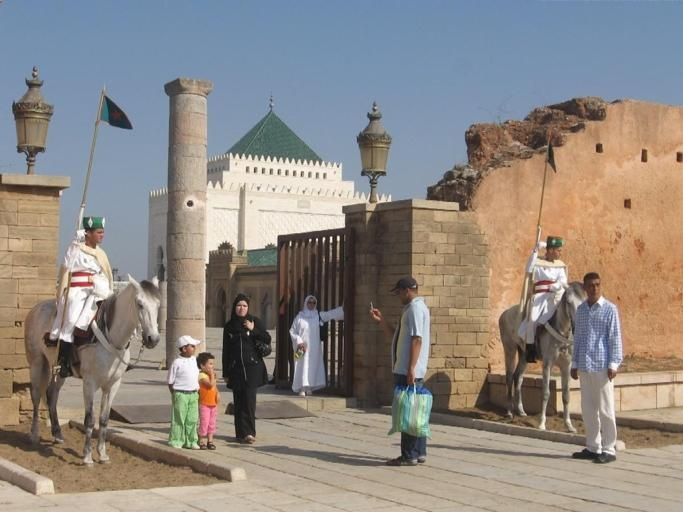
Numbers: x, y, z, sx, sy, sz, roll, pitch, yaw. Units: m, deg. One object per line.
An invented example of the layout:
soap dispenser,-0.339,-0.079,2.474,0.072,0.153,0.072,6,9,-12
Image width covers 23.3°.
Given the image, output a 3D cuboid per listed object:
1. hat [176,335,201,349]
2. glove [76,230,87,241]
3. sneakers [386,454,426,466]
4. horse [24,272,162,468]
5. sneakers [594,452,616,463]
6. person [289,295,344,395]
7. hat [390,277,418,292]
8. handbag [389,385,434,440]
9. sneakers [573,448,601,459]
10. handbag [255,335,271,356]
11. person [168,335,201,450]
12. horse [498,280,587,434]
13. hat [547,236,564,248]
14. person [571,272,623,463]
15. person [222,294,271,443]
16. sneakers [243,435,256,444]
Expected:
hat,-2.339,1.392,25.948,0.394,0.140,0.237,-5,6,-18
glove,-4.007,-0.301,25.805,0.132,0.162,0.063,1,7,-41
sneakers,0.985,3.123,25.047,0.552,0.177,0.192,2,-6,-5
horse,-3.831,1.778,25.614,1.068,2.856,2.985,1,-1,-35
sneakers,3.995,3.125,25.200,0.361,0.128,0.124,2,-6,-17
person,-0.560,1.684,30.568,0.683,1.822,0.595,1,-1,-30
hat,0.951,0.455,25.349,0.363,0.175,0.236,1,-2,7
handbag,1.058,2.385,25.024,0.591,0.810,0.303,0,-1,3
sneakers,3.746,3.077,25.409,0.408,0.150,0.138,4,-4,9
handbag,-1.238,1.457,26.437,0.171,0.322,0.339,-10,-10,31
person,-2.415,2.165,25.839,0.465,1.745,0.294,0,-1,-16
horse,3.443,1.726,28.119,0.772,2.421,3.170,2,2,-19
hat,3.657,-0.215,28.440,0.247,0.150,0.234,3,9,21
person,3.900,1.732,25.465,0.839,2.905,0.535,0,-1,28
person,-1.493,1.825,26.480,0.676,2.375,0.600,1,-1,-23
sneakers,-1.434,2.941,26.196,0.088,0.081,0.197,14,-5,9
